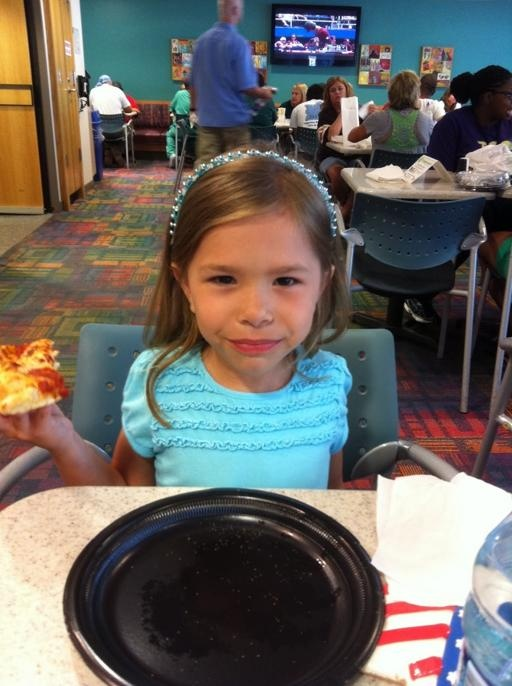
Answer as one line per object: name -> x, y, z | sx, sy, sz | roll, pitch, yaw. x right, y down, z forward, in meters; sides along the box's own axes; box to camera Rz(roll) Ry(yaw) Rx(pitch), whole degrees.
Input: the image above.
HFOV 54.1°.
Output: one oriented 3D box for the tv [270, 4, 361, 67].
tv -> 1.138, -5.978, 9.742 | 1.679, 1.044, 0.238 | -1, 26, -2
